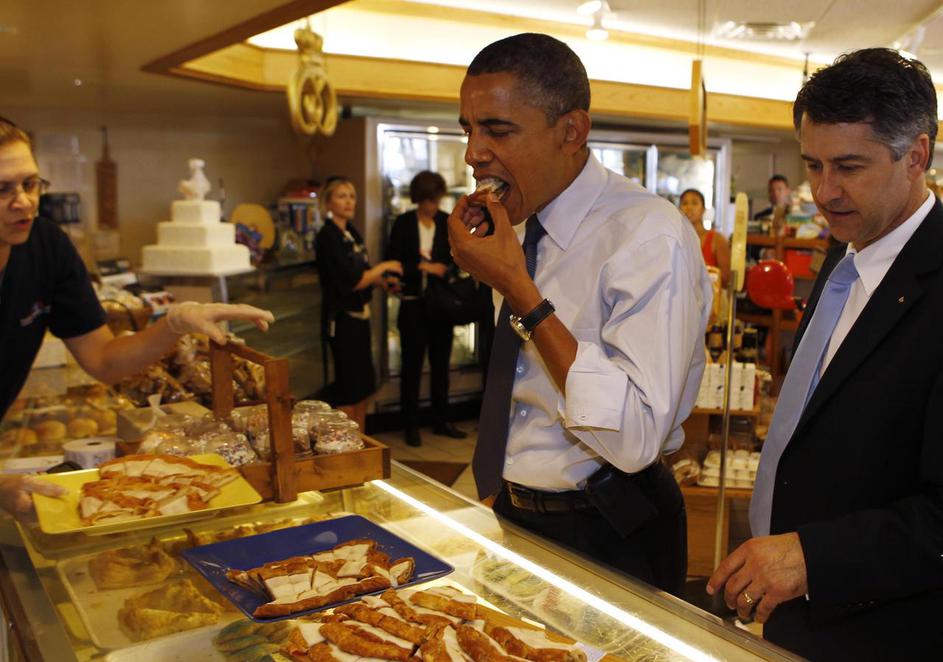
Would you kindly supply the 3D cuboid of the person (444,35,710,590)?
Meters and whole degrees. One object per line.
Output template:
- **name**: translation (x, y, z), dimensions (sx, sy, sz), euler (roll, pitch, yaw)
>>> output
- **person**: translation (0.243, 0.002, 1.662), dimensions (0.603, 1.412, 0.530), euler (4, 14, 20)

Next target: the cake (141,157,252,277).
- **cake**: translation (-1.551, -0.655, 3.887), dimensions (0.640, 0.580, 0.593), euler (-2, 16, -18)

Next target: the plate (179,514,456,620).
- **plate**: translation (-0.337, 0.502, 1.512), dimensions (0.513, 0.042, 0.321), euler (-6, 13, -24)

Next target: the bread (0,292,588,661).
- **bread**: translation (-0.774, 0.284, 1.958), dimensions (0.916, 0.525, 0.887), euler (-2, 3, -28)

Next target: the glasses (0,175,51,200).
- **glasses**: translation (-1.211, -0.367, 1.862), dimensions (0.091, 0.088, 0.029), euler (-8, 31, -37)

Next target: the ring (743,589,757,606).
- **ring**: translation (0.559, 0.539, 1.393), dimensions (0.023, 0.009, 0.020), euler (45, -2, 36)

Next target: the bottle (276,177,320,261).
- **bottle**: translation (-1.394, -0.856, 5.919), dimensions (0.412, 0.650, 0.375), euler (-3, -12, -1)

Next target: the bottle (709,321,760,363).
- **bottle**: translation (1.786, 0.074, 4.664), dimensions (0.405, 0.178, 0.507), euler (1, 20, 8)
